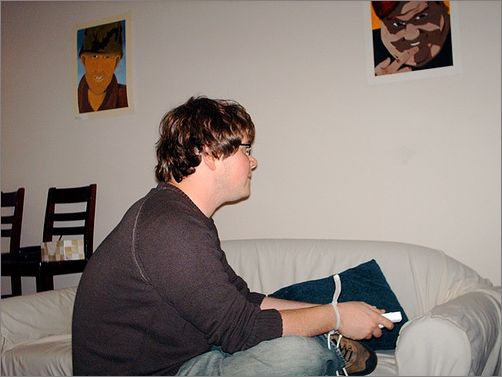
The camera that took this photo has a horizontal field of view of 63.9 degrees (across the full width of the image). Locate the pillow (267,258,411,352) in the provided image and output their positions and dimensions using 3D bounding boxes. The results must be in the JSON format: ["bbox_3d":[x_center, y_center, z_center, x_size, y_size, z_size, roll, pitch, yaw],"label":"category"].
[{"bbox_3d":[0.464,0.526,1.994,0.432,0.146,0.474,-14,6,0],"label":"pillow"}]

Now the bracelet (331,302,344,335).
[{"bbox_3d":[0.340,0.529,1.610,0.022,0.097,0.069,0,0,-14],"label":"bracelet"}]

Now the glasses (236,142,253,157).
[{"bbox_3d":[-0.026,-0.177,1.787,0.047,0.053,0.016,2,0,-37],"label":"glasses"}]
